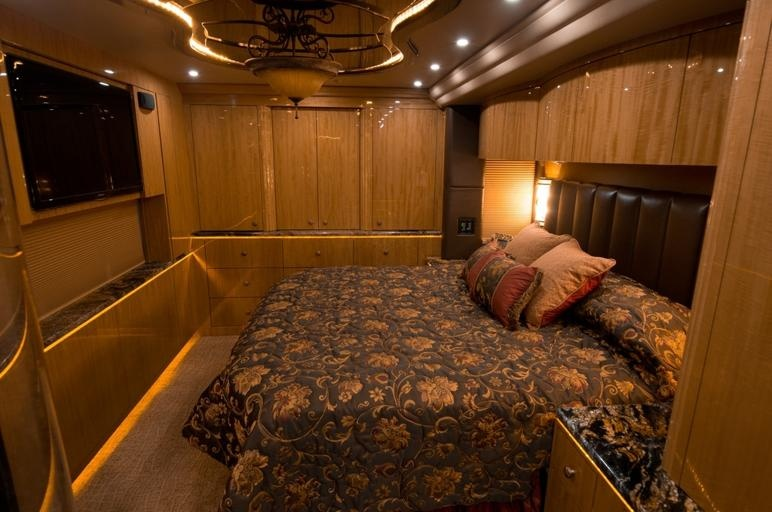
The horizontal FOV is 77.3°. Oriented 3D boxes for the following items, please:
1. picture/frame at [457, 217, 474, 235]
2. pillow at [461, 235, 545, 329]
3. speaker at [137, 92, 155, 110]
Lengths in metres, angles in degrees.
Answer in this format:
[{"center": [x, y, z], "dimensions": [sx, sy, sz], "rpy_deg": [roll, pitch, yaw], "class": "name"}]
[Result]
[{"center": [0.762, -0.303, 4.786], "dimensions": [0.205, 0.191, 0.150], "rpy_deg": [0, 13, 0], "class": "picture/frame"}, {"center": [0.740, 0.116, 3.278], "dimensions": [0.340, 0.281, 0.794], "rpy_deg": [-8, 20, -9], "class": "pillow"}, {"center": [-1.915, -1.232, 3.835], "dimensions": [0.096, 0.161, 0.183], "rpy_deg": [-2, 15, -3], "class": "speaker"}]
